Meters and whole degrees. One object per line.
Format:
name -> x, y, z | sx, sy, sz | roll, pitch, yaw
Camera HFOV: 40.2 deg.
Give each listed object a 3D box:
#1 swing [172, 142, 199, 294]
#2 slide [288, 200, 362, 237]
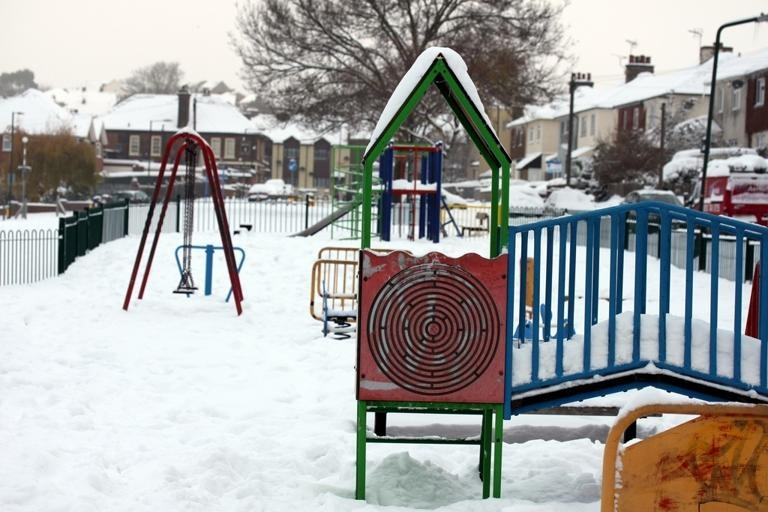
swing -> -4.576, -0.713, 24.437 | 0.799, 3.986, 0.824 | 0, -3, -13
slide -> -1.945, -1.222, 35.058 | 1.692, 1.006, 4.054 | 1, 7, 7
